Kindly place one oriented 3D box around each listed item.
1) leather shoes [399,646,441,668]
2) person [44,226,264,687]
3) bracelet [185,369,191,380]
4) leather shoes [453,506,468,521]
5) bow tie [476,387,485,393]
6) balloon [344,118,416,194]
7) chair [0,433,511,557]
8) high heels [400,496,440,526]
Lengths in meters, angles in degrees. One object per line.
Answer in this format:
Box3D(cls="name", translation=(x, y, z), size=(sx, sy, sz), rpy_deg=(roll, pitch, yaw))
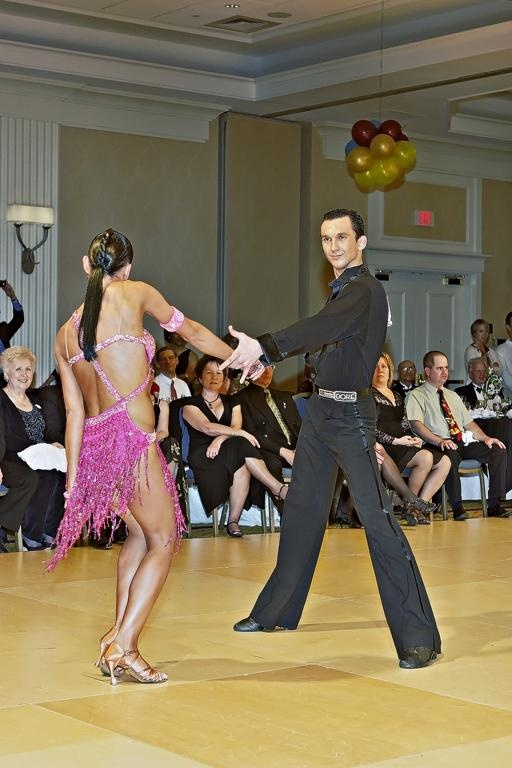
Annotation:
Box3D(cls="leather shoes", translation=(0.569, 0.927, 2.278), size=(0.164, 0.059, 0.055), rpy_deg=(-8, 11, -41))
Box3D(cls="person", translation=(-0.374, 0.220, 1.942), size=(0.528, 1.345, 0.352), rpy_deg=(1, 1, 2))
Box3D(cls="bracelet", translation=(-0.768, -0.091, 7.483), size=(0.084, 0.092, 0.083), rpy_deg=(0, -5, 4))
Box3D(cls="leather shoes", translation=(1.944, 1.241, 6.251), size=(0.081, 0.072, 0.171), rpy_deg=(-2, -10, -4))
Box3D(cls="bow tie", translation=(2.595, 0.076, 7.604), size=(0.056, 0.066, 0.055), rpy_deg=(0, 0, 10))
Box3D(cls="balloon", translation=(1.253, -2.385, 6.776), size=(0.707, 0.711, 0.440), rpy_deg=(1, 1, 19))
Box3D(cls="chair", translation=(-0.062, 0.704, 4.071), size=(1.931, 0.608, 0.431), rpy_deg=(1, 21, -13))
Box3D(cls="high heels", translation=(1.511, 1.160, 6.038), size=(0.166, 0.175, 0.487), rpy_deg=(-4, 2, 33))
